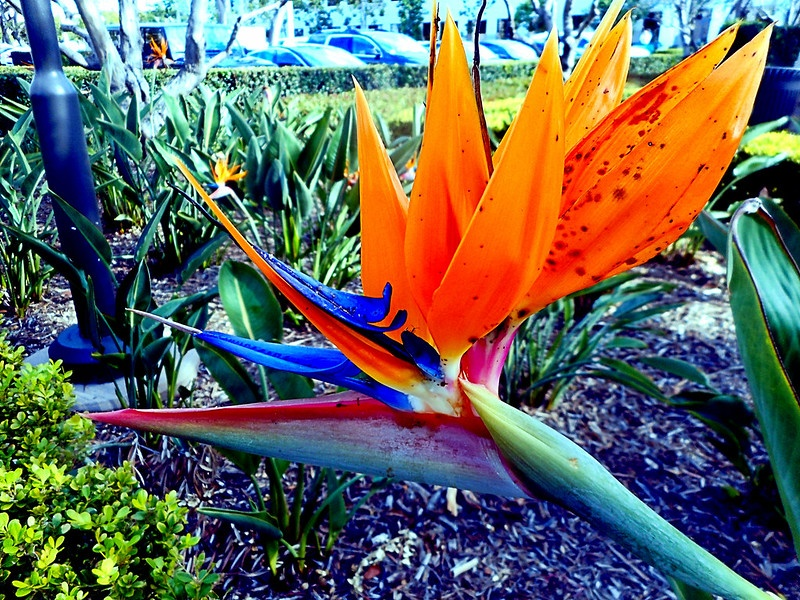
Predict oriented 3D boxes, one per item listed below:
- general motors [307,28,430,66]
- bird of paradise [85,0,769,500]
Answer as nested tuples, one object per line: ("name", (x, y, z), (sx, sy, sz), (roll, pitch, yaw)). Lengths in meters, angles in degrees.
("general motors", (-0.436, -3.778, 9.985), (1.573, 0.695, 0.815), (11, 34, 23))
("bird of paradise", (0.064, -0.153, 1.186), (0.769, 0.840, 0.495), (11, 47, -20))
